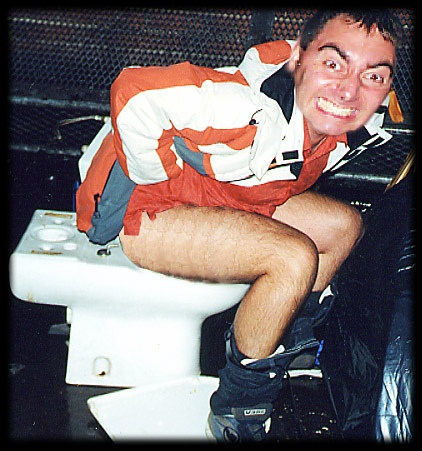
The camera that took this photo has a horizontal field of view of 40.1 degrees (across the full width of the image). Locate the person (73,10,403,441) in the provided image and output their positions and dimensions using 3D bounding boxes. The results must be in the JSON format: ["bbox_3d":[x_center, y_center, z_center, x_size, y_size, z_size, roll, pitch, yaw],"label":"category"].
[{"bbox_3d":[0.067,-0.074,1.407,0.594,1.005,0.505,21,36,22],"label":"person"}]

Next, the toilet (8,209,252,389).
[{"bbox_3d":[-0.188,0.181,1.433,0.491,0.412,0.313,-2,24,-10],"label":"toilet"}]
